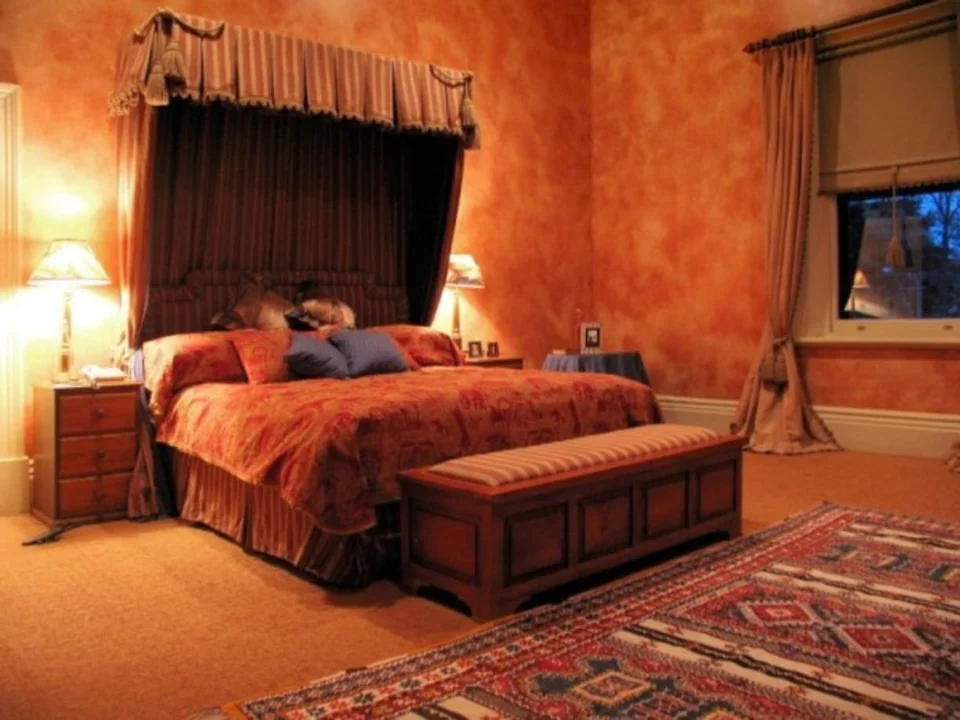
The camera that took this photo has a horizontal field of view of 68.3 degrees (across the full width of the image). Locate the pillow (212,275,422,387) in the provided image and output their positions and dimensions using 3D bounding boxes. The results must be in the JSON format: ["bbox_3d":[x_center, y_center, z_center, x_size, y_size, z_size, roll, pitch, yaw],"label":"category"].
[{"bbox_3d":[-1.283,-0.191,5.093,0.893,0.439,1.055,-5,22,-36],"label":"pillow"}]

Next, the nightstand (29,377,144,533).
[{"bbox_3d":[-2.664,0.542,4.760,0.827,1.251,0.746,0,0,-45],"label":"nightstand"}]

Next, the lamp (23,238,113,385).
[{"bbox_3d":[-2.701,-0.352,4.701,0.440,0.907,0.500,-5,7,-33],"label":"lamp"}]

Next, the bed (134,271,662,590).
[{"bbox_3d":[-0.979,0.390,4.173,1.854,0.864,1.839,-4,5,-43],"label":"bed"}]
